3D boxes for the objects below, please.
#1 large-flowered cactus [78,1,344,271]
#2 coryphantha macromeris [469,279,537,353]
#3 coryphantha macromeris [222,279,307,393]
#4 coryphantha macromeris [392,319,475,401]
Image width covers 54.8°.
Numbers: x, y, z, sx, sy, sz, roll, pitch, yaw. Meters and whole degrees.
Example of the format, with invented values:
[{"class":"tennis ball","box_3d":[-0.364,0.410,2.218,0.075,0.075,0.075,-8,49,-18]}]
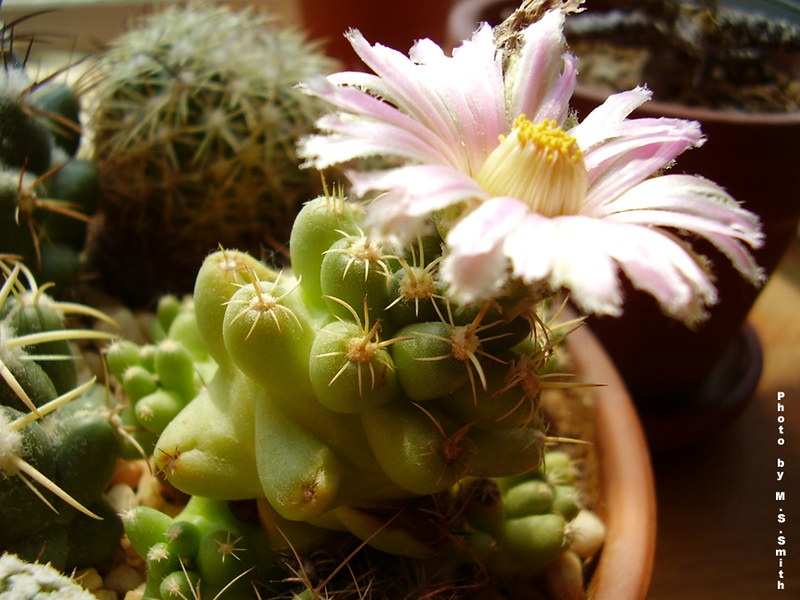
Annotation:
[{"class":"large-flowered cactus","box_3d":[-0.303,-0.241,1.410,0.409,0.457,0.420,5,10,-7]},{"class":"coryphantha macromeris","box_3d":[0.115,0.020,0.837,0.042,0.086,0.050,7,28,8]},{"class":"coryphantha macromeris","box_3d":[-0.149,0.031,0.870,0.097,0.129,0.091,-10,19,-14]},{"class":"coryphantha macromeris","box_3d":[0.033,0.055,0.821,0.058,0.082,0.079,4,20,5]}]
